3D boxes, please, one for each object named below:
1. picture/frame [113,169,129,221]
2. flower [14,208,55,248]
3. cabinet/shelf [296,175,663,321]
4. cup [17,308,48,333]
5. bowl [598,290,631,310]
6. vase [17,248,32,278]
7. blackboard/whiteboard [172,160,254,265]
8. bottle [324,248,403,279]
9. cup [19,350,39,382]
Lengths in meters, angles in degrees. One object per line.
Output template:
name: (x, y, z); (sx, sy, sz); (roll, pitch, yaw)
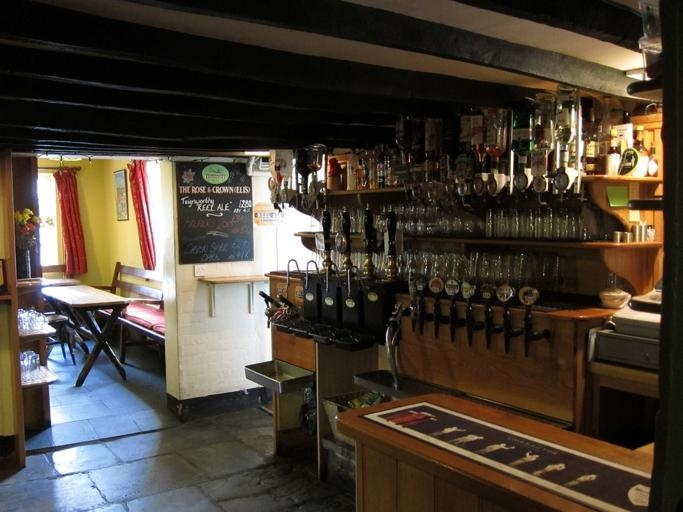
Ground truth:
picture/frame: (-3.833, -1.077, 9.534); (0.043, 1.081, 0.931); (1, -2, -35)
flower: (-3.584, -0.323, 6.545); (0.348, 0.428, 0.404); (1, -9, -31)
cabinet/shelf: (1.041, -0.125, 3.689); (1.885, 0.724, 0.694); (3, 5, 41)
cup: (-2.949, 0.597, 5.185); (0.242, 0.105, 0.329); (3, -4, -43)
bowl: (1.562, 0.247, 3.173); (0.129, 0.070, 0.128); (-1, 2, 0)
vase: (-3.953, 0.093, 6.821); (0.148, 0.360, 0.274); (-2, 4, -27)
blackboard/whiteboard: (-1.448, -0.480, 5.983); (1.178, 1.520, 0.123); (0, -1, -31)
bottle: (0.173, 0.064, 4.338); (0.199, 0.285, 0.732); (-6, 12, -34)
cup: (-2.931, 1.027, 5.148); (0.135, 0.232, 0.224); (-2, 4, -28)
